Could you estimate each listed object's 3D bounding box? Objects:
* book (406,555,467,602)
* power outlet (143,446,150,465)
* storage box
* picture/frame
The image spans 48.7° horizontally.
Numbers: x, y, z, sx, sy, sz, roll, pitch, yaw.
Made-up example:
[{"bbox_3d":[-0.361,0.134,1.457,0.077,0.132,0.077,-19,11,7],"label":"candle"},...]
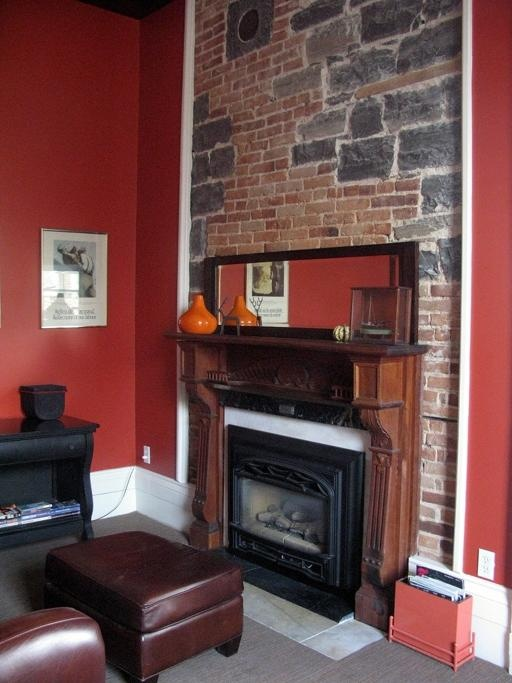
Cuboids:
[{"bbox_3d":[0.680,0.903,2.154,0.100,0.047,0.135,-1,5,-40],"label":"book"},{"bbox_3d":[-0.766,0.791,3.941,0.015,0.133,0.092,1,-1,-43],"label":"power outlet"},{"bbox_3d":[0.658,1.057,2.142,0.146,0.240,0.283,6,-2,-40],"label":"storage box"},{"bbox_3d":[-1.190,-0.421,3.698,0.453,0.662,0.019,-2,7,-39],"label":"picture/frame"}]
